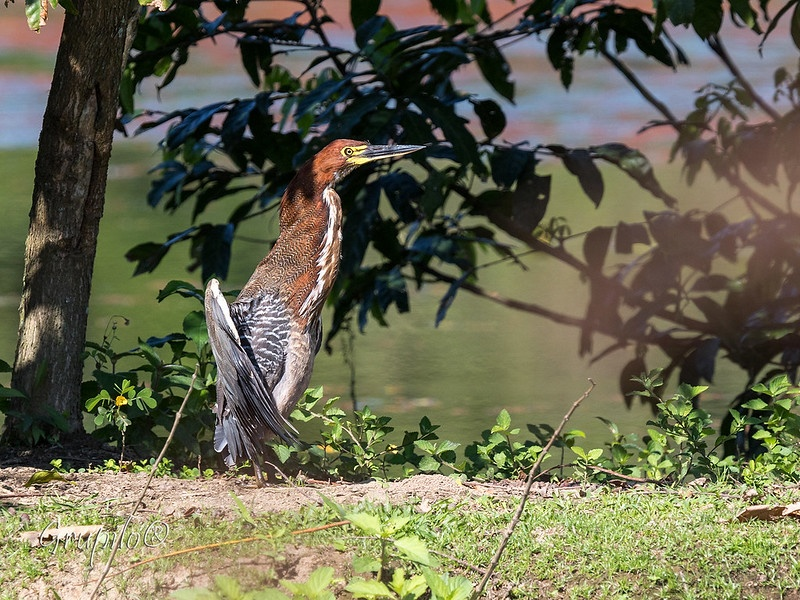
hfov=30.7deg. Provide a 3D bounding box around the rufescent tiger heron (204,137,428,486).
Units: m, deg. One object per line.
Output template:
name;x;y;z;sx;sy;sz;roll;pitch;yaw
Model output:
rufescent tiger heron;-0.694;0.085;9.024;0.839;2.155;1.121;2;5;19
